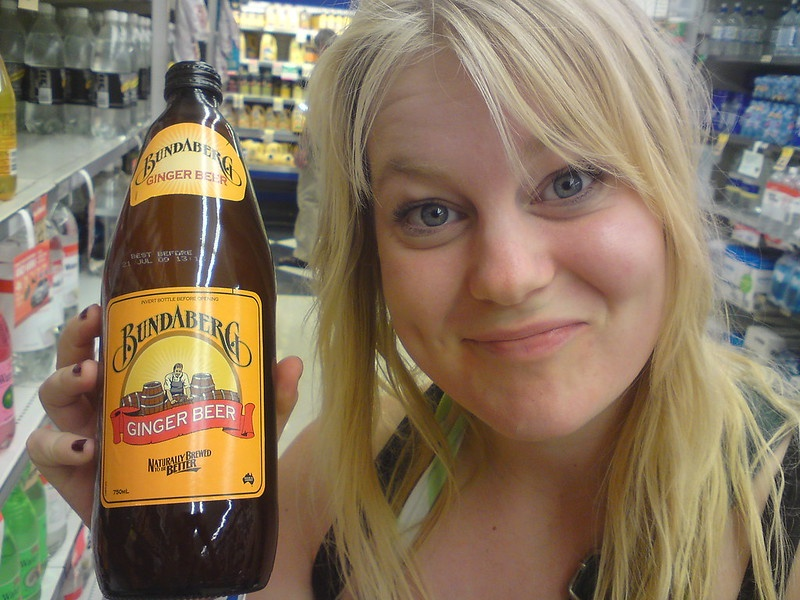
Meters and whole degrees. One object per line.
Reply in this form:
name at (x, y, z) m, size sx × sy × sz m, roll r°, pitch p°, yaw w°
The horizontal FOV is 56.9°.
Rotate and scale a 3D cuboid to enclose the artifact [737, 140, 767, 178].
artifact at (1.769, -0.700, 3.694) m, size 0.035 × 0.151 × 0.152 m, roll 8°, pitch 35°, yaw -24°
